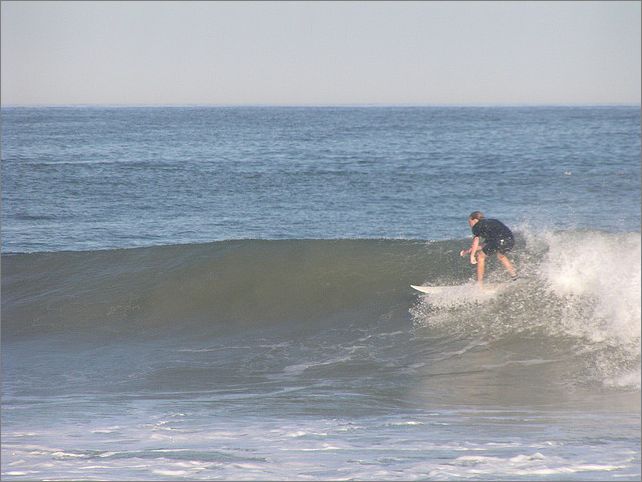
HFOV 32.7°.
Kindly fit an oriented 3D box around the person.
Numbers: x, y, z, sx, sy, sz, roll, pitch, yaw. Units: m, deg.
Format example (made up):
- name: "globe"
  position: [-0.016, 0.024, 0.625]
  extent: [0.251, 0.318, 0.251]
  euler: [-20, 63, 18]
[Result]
- name: "person"
  position: [4.281, 0.157, 27.709]
  extent: [1.286, 1.840, 1.318]
  euler: [1, 8, 6]
